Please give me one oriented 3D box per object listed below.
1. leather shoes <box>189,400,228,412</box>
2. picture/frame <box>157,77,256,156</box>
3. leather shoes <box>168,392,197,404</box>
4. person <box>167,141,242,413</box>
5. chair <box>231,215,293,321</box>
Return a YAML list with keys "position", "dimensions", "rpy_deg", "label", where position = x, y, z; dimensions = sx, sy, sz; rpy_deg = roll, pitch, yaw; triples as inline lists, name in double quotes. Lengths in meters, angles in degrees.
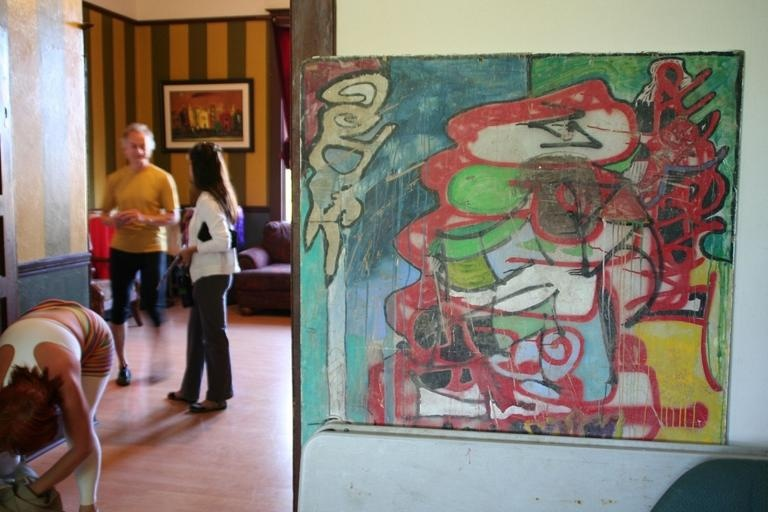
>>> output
- position: [-0.983, 0.846, 4.549]
  dimensions: [0.196, 0.084, 0.074]
  rpy_deg: [4, -3, -12]
  label: "leather shoes"
- position: [-1.584, -1.305, 7.401]
  dimensions: [1.035, 0.837, 0.046]
  rpy_deg: [1, 3, 4]
  label: "picture/frame"
- position: [-1.165, 0.816, 4.672]
  dimensions: [0.175, 0.052, 0.072]
  rpy_deg: [14, 6, 20]
  label: "leather shoes"
- position: [-0.985, 0.134, 4.456]
  dimensions: [0.374, 1.484, 0.323]
  rpy_deg: [2, 12, 4]
  label: "person"
- position: [-0.917, 0.094, 7.045]
  dimensions: [0.639, 0.824, 0.796]
  rpy_deg: [-1, 4, -4]
  label: "chair"
